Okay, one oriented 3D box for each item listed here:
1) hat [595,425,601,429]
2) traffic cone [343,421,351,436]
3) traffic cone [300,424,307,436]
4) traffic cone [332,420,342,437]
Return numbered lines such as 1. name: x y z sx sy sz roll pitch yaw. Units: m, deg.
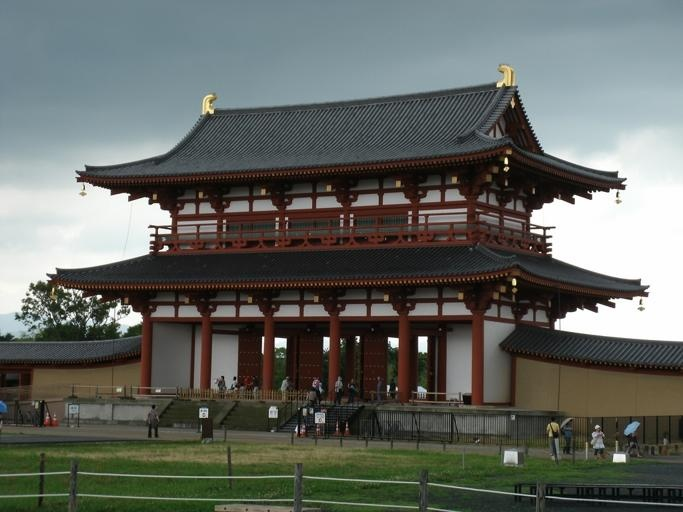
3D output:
1. hat: 12.238 8.060 67.641 0.299 0.137 0.400 -2 -10 9
2. traffic cone: 0.345 8.901 74.357 0.352 0.776 0.775 0 -11 0
3. traffic cone: -1.932 8.929 73.439 0.349 0.628 0.771 1 -11 -2
4. traffic cone: -0.215 8.909 74.232 0.632 0.793 0.601 0 -9 2
